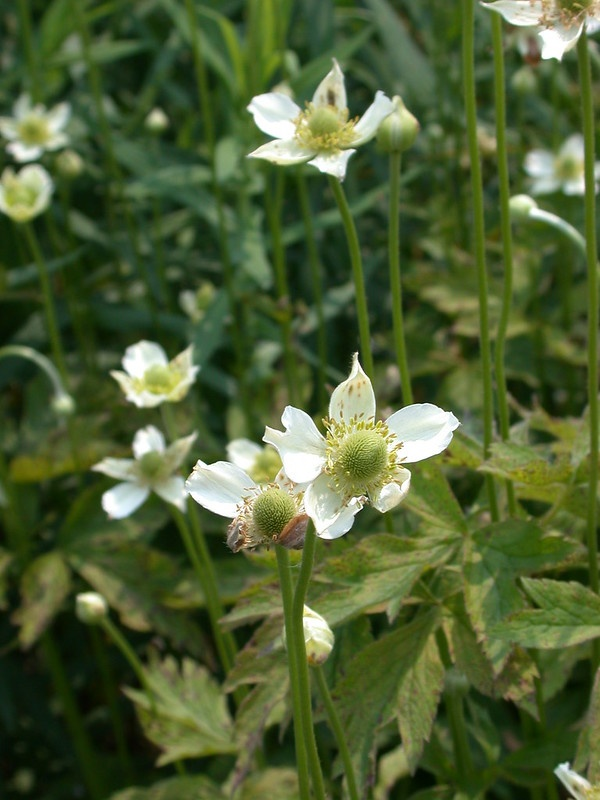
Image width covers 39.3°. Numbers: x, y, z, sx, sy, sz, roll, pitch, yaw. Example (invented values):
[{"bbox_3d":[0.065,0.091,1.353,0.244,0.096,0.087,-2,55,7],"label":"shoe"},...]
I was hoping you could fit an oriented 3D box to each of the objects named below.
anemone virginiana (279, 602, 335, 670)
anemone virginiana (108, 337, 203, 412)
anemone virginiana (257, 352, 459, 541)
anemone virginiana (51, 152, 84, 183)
[{"bbox_3d":[0.002,0.217,0.770,0.042,0.022,0.061,0,55,-33],"label":"anemone virginiana"},{"bbox_3d":[-0.167,-0.016,0.971,0.088,0.042,0.082,33,57,28],"label":"anemone virginiana"},{"bbox_3d":[0.043,0.042,0.721,0.154,0.065,0.180,1,53,11],"label":"anemone virginiana"},{"bbox_3d":[-0.408,-0.415,1.488,0.053,0.027,0.048,17,68,-16],"label":"anemone virginiana"}]
